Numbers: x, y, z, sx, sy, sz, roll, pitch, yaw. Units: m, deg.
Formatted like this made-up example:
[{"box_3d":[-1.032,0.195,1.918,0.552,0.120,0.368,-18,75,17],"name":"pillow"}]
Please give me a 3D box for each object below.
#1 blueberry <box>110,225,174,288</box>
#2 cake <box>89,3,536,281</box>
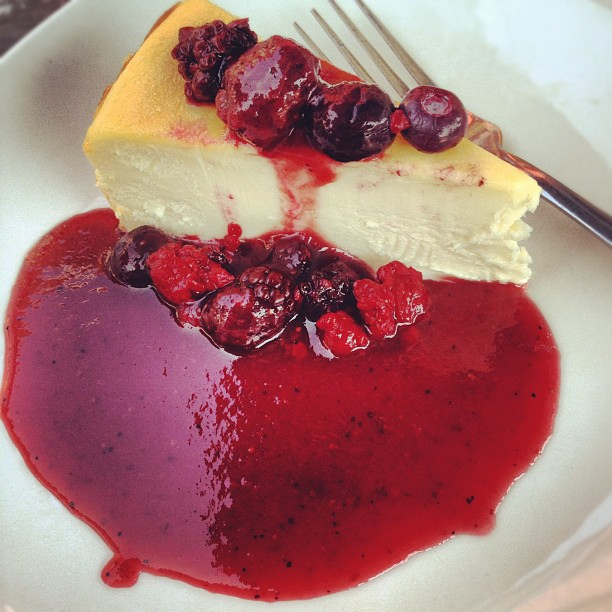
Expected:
[{"box_3d":[-0.369,-0.136,1.700,0.128,0.121,0.060,-33,67,15],"name":"blueberry"},{"box_3d":[0.005,-0.327,1.660,1.005,0.394,0.352,18,70,10],"name":"cake"}]
